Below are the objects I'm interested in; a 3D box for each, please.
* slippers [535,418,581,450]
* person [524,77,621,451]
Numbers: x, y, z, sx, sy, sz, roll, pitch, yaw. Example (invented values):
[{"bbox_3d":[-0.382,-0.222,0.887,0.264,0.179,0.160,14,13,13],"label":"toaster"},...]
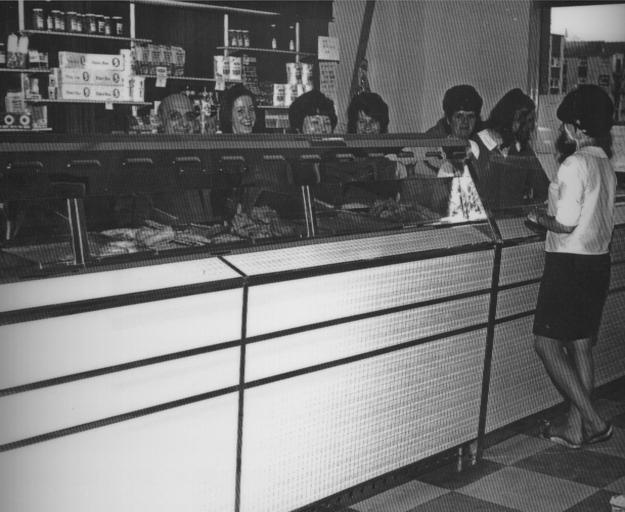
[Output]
[{"bbox_3d":[0.984,0.722,2.437,0.153,0.039,0.097,36,49,9],"label":"slippers"},{"bbox_3d":[1.050,0.049,2.414,0.414,1.408,0.238,-5,13,-26],"label":"person"}]
